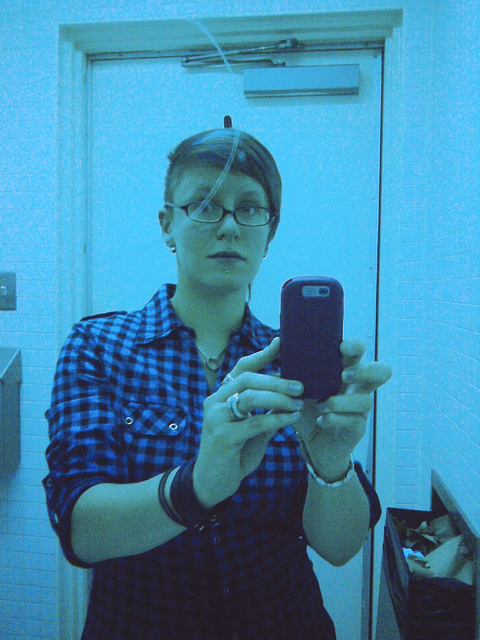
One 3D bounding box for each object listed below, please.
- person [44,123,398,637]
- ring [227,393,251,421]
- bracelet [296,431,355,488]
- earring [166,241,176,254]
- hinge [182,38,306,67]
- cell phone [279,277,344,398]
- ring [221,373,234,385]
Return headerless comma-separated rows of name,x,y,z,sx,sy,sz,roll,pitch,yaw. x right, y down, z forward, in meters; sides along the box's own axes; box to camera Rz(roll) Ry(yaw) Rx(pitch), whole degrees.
person,-0.034,0.151,1.353,0.662,1.117,0.521,1,4,12
ring,-0.001,0.141,1.092,0.016,0.043,0.036,-9,-17,1
bracelet,0.158,0.274,1.313,0.098,0.117,0.117,6,9,18
earring,-0.155,-0.163,1.516,0.028,0.033,0.035,-1,14,-11
hinge,0.012,-0.762,1.890,0.352,0.076,0.023,0,4,3
cell phone,0.125,0.030,1.140,0.107,0.203,0.048,0,4,8
ring,-0.020,0.108,1.207,0.017,0.022,0.007,39,10,-15
